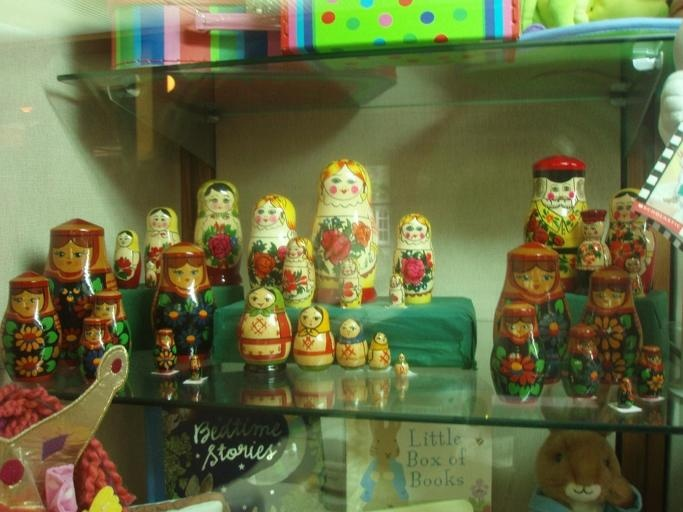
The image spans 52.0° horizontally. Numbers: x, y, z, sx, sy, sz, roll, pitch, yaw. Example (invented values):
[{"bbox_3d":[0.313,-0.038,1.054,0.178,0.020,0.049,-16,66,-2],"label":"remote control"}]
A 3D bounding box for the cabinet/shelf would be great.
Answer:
[{"bbox_3d":[0.049,0.029,0.925,0.574,0.560,0.214,1,4,11],"label":"cabinet/shelf"}]
